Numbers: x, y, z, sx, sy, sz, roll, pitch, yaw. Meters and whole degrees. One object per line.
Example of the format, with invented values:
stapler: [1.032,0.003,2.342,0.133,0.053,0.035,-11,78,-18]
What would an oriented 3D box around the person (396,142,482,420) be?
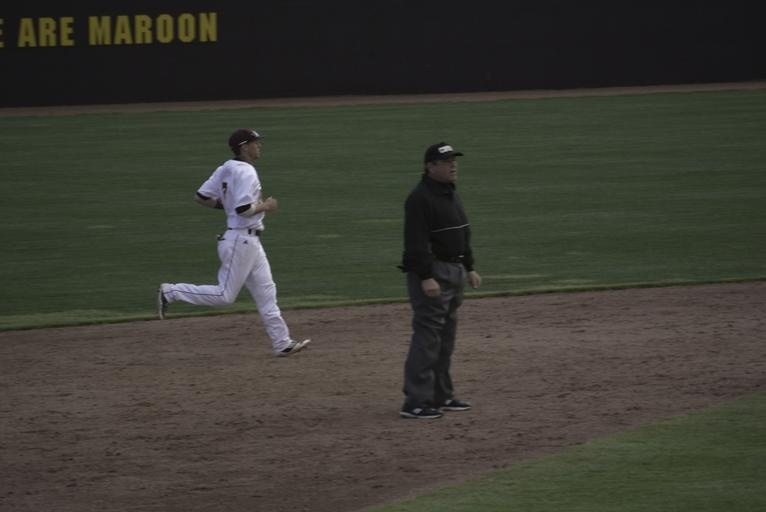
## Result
person: [0.532,0.275,13.755,0.818,2.956,0.362,-9,9,-36]

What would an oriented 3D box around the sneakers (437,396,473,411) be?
sneakers: [0.765,1.637,13.968,0.433,0.098,0.128,0,-3,2]

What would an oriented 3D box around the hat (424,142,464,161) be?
hat: [0.598,-1.119,13.773,0.439,0.128,0.244,-6,6,15]

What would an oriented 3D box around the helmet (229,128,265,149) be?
helmet: [-1.704,-1.419,15.245,0.494,0.165,0.281,-15,13,-7]

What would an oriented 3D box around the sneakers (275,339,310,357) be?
sneakers: [-1.073,1.101,15.136,0.492,0.143,0.147,-19,-2,-1]

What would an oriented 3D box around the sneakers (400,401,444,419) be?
sneakers: [0.393,1.692,13.846,0.552,0.137,0.154,0,2,4]

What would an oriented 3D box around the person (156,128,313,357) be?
person: [-1.768,-0.167,15.190,1.621,2.680,0.560,-3,7,5]
